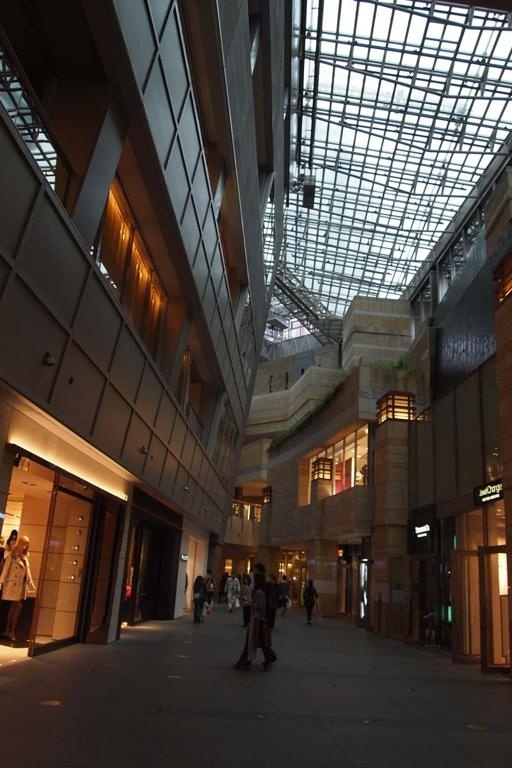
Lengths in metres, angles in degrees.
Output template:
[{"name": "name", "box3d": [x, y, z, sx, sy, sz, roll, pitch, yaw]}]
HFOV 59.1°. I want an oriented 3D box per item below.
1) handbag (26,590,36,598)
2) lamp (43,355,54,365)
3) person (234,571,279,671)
[{"name": "handbag", "box3d": [-3.357, 3.117, 6.738, 0.072, 0.065, 0.089, -3, -20, 11]}, {"name": "lamp", "box3d": [-1.873, -0.207, 4.057, 0.064, 0.094, 0.075, 3, 6, 15]}, {"name": "person", "box3d": [0.005, 4.038, 7.997, 0.504, 1.624, 0.399, 1, -12, -5]}]
